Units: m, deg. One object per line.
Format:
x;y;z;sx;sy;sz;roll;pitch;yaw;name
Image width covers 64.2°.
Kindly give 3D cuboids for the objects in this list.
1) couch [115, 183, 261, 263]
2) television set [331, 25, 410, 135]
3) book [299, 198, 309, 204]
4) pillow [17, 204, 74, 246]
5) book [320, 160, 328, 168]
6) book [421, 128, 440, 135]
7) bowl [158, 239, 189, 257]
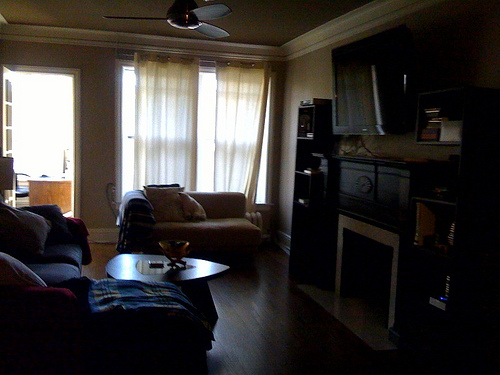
-0.785;0.523;5.351;1.859;0.975;0.841;-1;10;-20;couch
1.259;-1.013;4.045;0.338;0.936;0.966;-8;10;-29;television set
0.666;0.160;4.931;0.110;0.057;0.246;3;9;6;book
-2.121;0.403;4.179;0.130;0.423;0.448;-28;-7;23;pillow
0.868;-0.273;4.601;0.071;0.121;0.126;3;5;-15;book
1.450;-0.447;3.195;0.021;0.056;0.148;-3;11;-31;book
-0.737;0.590;3.849;0.347;0.155;0.345;0;-4;0;bowl
